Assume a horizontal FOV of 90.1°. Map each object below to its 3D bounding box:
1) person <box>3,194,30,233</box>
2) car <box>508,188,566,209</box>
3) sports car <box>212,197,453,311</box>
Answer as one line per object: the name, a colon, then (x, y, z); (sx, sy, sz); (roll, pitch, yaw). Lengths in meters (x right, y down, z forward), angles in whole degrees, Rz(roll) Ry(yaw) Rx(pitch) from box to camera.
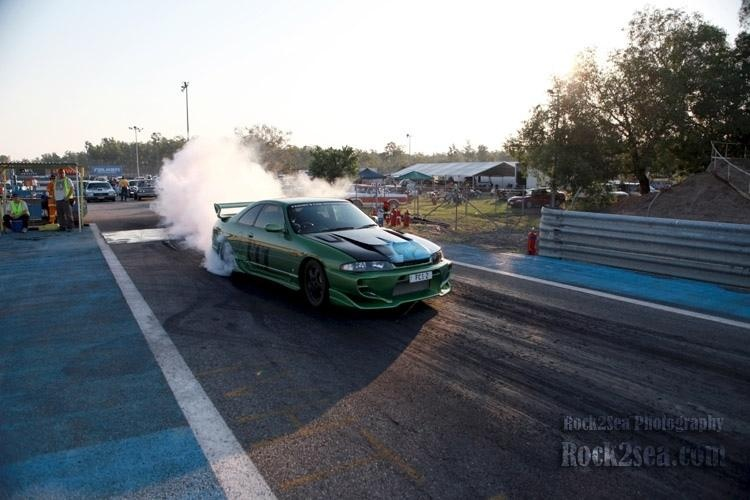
person: (-15.619, -1.566, 16.361); (1.079, 1.629, 0.742); (7, 13, 32)
car: (13.888, -4.437, 32.821); (6.600, 1.678, 2.644); (-10, 15, -38)
sports car: (-1.111, -0.023, 7.181); (4.346, 1.355, 2.043); (10, 11, 42)
